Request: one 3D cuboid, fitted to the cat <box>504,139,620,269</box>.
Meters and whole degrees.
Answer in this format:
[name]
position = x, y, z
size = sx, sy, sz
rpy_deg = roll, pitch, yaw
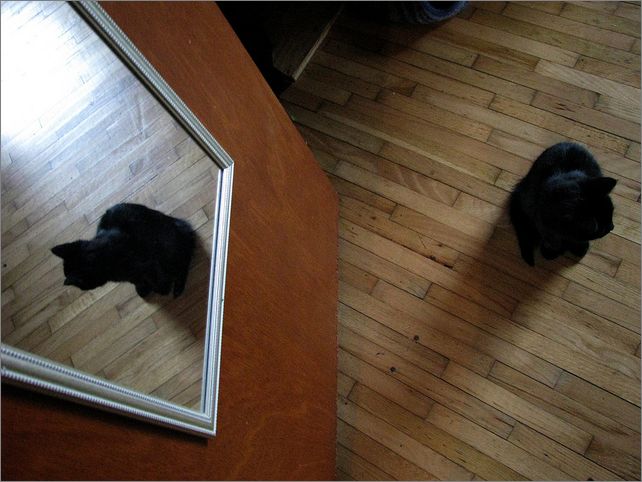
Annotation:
[cat]
position = 0.905, -0.146, 2.192
size = 0.428, 0.522, 0.481
rpy_deg = -16, 77, 19
